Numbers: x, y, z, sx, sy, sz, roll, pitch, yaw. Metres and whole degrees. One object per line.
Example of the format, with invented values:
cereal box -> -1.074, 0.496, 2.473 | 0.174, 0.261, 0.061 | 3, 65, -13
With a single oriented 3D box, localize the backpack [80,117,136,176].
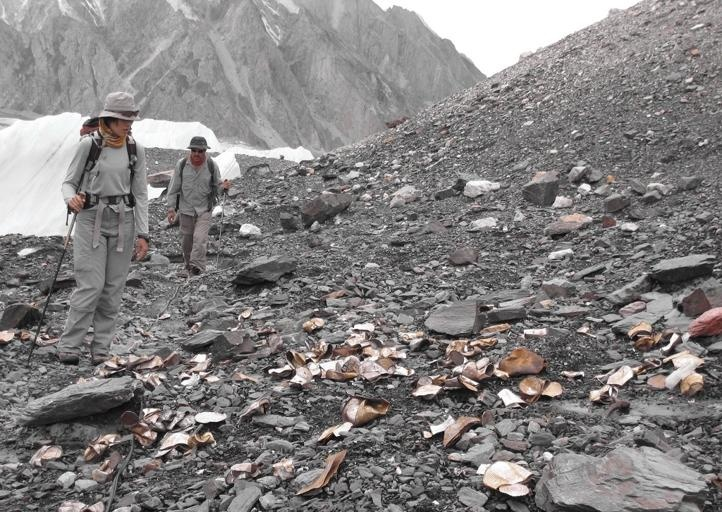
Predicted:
backpack -> -2.846, -1.253, 6.606 | 0.748, 0.589, 0.473 | 5, -2, -1

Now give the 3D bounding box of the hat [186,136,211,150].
hat -> -2.564, -1.746, 9.278 | 0.380, 0.158, 0.341 | 0, 5, 29
